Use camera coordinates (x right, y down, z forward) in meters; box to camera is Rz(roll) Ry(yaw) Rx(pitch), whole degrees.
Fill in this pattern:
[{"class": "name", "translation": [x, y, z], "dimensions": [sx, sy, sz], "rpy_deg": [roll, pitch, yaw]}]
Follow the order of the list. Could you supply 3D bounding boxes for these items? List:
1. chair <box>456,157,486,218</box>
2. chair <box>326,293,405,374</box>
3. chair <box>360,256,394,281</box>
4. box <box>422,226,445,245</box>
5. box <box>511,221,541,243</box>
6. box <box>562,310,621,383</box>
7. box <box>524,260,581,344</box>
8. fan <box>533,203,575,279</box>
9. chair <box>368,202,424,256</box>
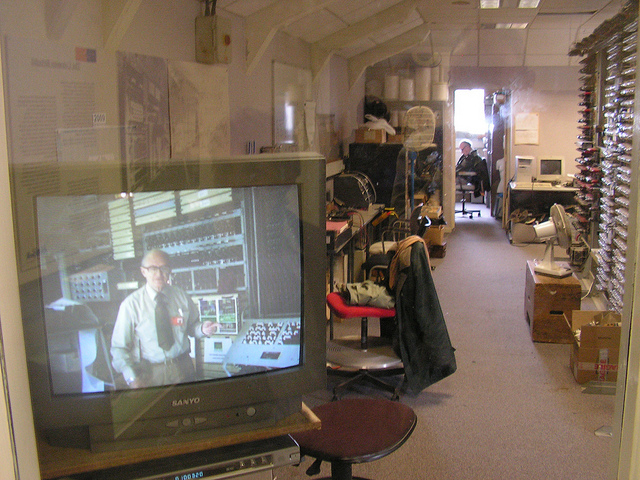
[{"class": "chair", "translation": [1.028, -0.364, 3.945], "dimensions": [0.231, 0.413, 0.272], "rpy_deg": [4, 0, 3]}, {"class": "chair", "translation": [0.228, 0.458, 2.885], "dimensions": [0.401, 0.434, 0.390], "rpy_deg": [-4, 13, -23]}, {"class": "chair", "translation": [0.366, 0.154, 3.662], "dimensions": [0.163, 0.127, 0.252], "rpy_deg": [1, 11, 7]}, {"class": "box", "translation": [0.852, -0.033, 4.155], "dimensions": [0.218, 0.127, 0.208], "rpy_deg": [-1, -2, 22]}, {"class": "box", "translation": [1.055, -0.032, 2.888], "dimensions": [0.160, 0.111, 0.039], "rpy_deg": [4, 10, -24]}, {"class": "box", "translation": [1.215, 0.487, 2.512], "dimensions": [0.190, 0.225, 0.317], "rpy_deg": [1, 2, 15]}, {"class": "box", "translation": [1.363, 0.358, 3.317], "dimensions": [0.229, 0.374, 0.444], "rpy_deg": [1, 15, 14]}, {"class": "fan", "translation": [1.258, -0.002, 3.026], "dimensions": [0.208, 0.388, 0.251], "rpy_deg": [-1, 3, 18]}, {"class": "chair", "translation": [0.534, -0.090, 3.862], "dimensions": [0.307, 0.534, 0.335], "rpy_deg": [3, 14, 13]}]
